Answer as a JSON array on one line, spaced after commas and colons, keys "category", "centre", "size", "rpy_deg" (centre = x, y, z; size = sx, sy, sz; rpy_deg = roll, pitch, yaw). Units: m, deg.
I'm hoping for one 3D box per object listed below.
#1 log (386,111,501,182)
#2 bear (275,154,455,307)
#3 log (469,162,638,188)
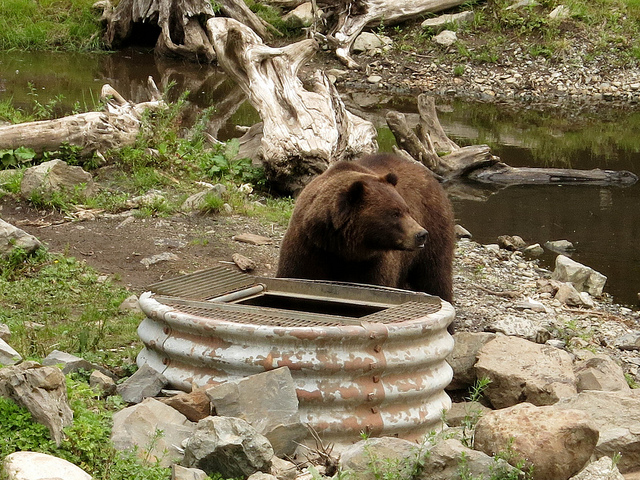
[{"category": "log", "centre": [2.175, -1.705, 17.676], "size": [1.861, 0.781, 1.579], "rpy_deg": [20, 14, -6]}, {"category": "bear", "centre": [0.624, 0.020, 10.576], "size": [2.094, 1.728, 1.269], "rpy_deg": [-10, 17, -30]}, {"category": "log", "centre": [4.316, -1.218, 17.749], "size": [1.872, 0.275, 0.439], "rpy_deg": [4, 2, -2]}]
